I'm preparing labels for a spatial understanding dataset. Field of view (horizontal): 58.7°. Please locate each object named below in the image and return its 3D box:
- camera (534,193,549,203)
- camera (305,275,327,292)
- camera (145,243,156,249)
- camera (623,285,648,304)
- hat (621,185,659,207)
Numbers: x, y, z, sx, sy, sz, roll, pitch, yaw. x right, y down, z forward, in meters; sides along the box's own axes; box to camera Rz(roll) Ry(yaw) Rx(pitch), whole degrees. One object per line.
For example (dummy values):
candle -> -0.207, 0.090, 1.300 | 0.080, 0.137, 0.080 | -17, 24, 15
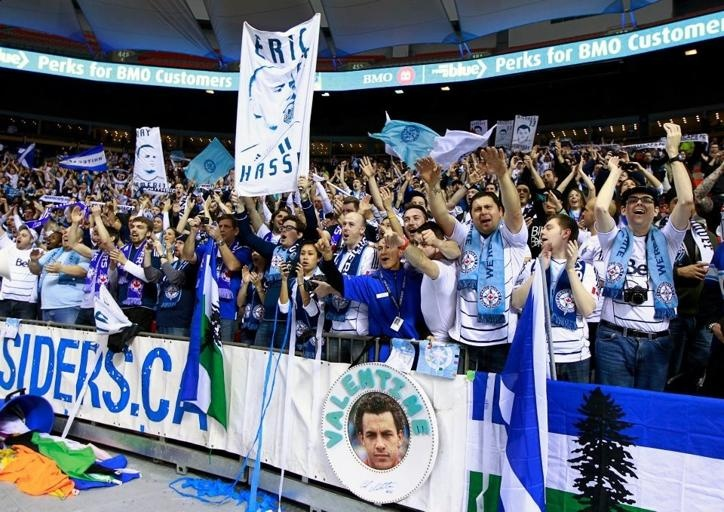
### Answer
camera -> 2.997, -0.964, 10.725 | 0.199, 0.146, 0.116 | 0, -7, 27
camera -> -0.606, 0.345, 8.221 | 0.138, 0.234, 0.227 | 10, -6, 1
camera -> -3.234, -0.150, 9.797 | 0.093, 0.095, 0.043 | -40, 11, -32
camera -> 3.216, 0.457, 7.538 | 0.241, 0.223, 0.181 | -1, -10, 9
hat -> 3.452, -0.731, 7.998 | 0.435, 0.181, 0.617 | 9, 7, 24
